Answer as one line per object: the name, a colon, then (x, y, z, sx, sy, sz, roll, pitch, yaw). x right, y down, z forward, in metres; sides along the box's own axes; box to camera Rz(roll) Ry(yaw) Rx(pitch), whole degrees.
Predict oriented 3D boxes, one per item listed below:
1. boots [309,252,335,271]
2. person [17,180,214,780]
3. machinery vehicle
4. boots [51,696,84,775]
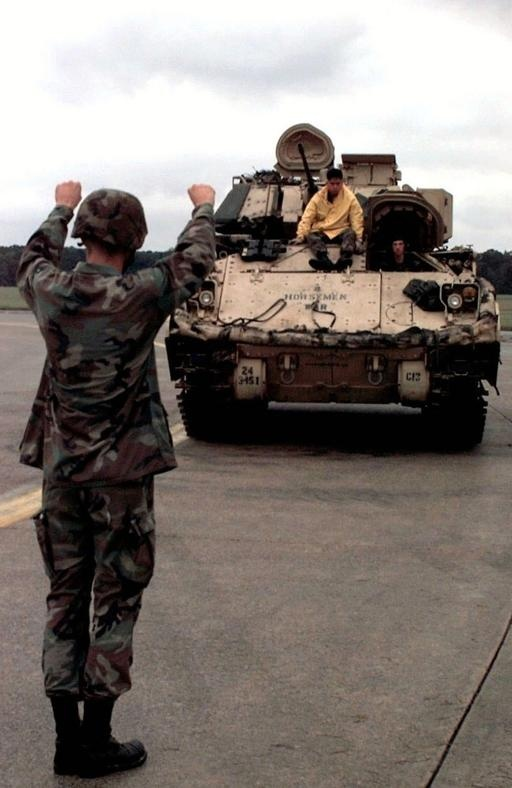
boots: (0.797, -1.562, 8.856, 0.371, 0.165, 0.351, 5, 22, 11)
person: (-0.448, 0.249, 2.380, 0.575, 1.603, 0.709, -1, 6, -17)
machinery vehicle: (1.171, -1.764, 10.375, 4.079, 3.340, 5.877, 3, 17, 14)
boots: (-0.544, 0.973, 2.146, 0.080, 0.186, 0.141, -1, 6, -16)
